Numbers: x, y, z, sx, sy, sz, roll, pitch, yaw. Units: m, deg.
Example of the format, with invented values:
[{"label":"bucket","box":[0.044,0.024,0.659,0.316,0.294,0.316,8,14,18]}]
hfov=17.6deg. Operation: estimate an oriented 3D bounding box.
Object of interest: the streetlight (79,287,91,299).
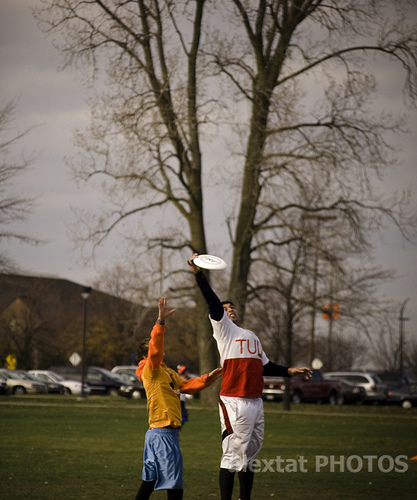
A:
[{"label":"streetlight","box":[-1.653,0.554,17.432,0.098,0.149,0.130,-1,-21,-4]}]

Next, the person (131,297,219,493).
[{"label":"person","box":[-0.411,1.564,14.657,0.719,2.092,0.924,4,-10,-18]}]
